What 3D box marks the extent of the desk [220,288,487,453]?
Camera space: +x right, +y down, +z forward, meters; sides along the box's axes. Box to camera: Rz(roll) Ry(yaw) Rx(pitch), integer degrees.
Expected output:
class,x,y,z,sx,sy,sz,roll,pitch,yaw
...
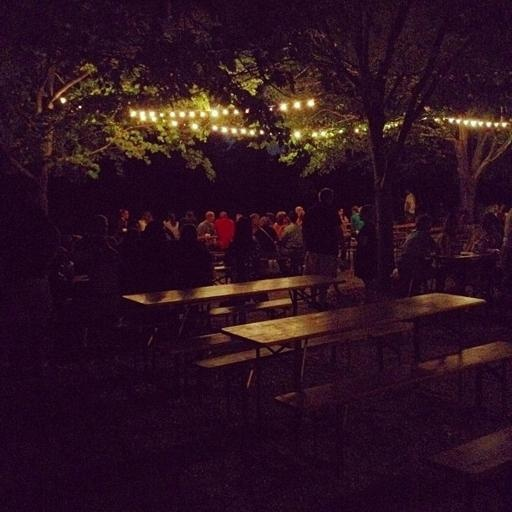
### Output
class,x,y,z,sx,sy,sz,roll,pitch,yaw
desk,0.887,0.949,4.006,1.764,0.830,0.539,-9,0,8
